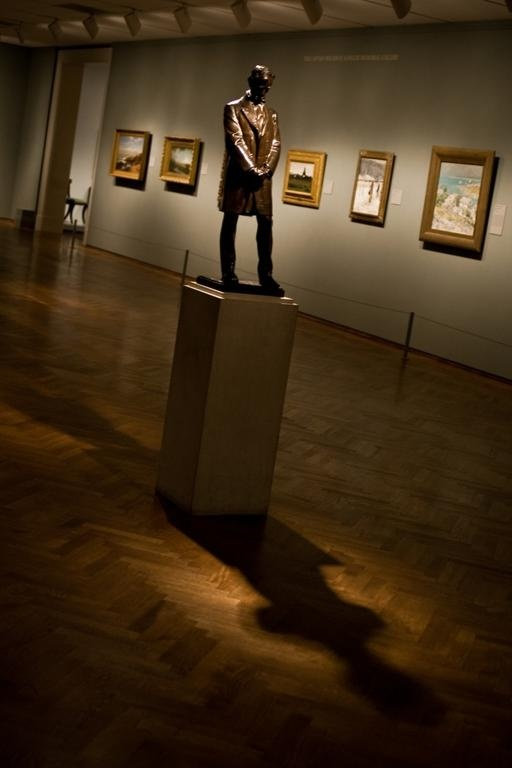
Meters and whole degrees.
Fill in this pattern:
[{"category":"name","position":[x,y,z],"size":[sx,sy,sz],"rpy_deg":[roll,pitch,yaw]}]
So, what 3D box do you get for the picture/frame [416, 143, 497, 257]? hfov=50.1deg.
[{"category":"picture/frame","position":[3.317,-3.139,9.149],"size":[0.173,1.316,1.148],"rpy_deg":[3,10,-39]}]
